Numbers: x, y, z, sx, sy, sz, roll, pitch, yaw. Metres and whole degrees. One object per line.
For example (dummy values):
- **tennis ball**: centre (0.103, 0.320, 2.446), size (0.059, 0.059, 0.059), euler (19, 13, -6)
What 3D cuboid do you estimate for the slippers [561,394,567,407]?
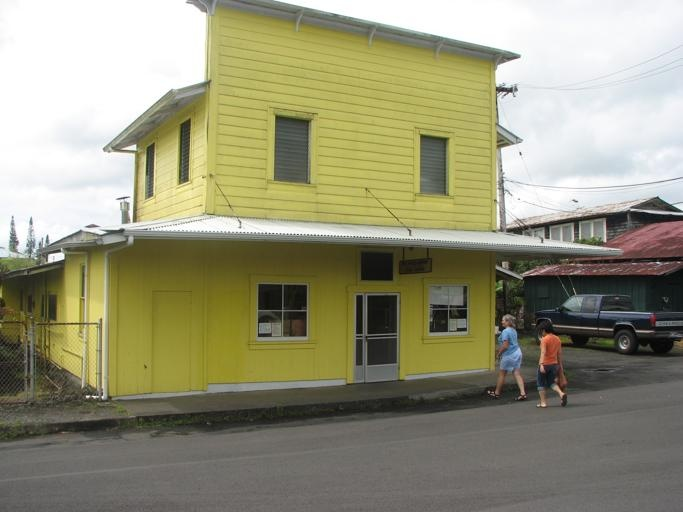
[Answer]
- **slippers**: centre (4.862, 3.136, 14.935), size (0.125, 0.289, 0.083), euler (-1, 5, -3)

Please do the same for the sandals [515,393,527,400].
- **sandals**: centre (4.163, 3.293, 16.030), size (0.319, 0.118, 0.114), euler (1, 1, 40)

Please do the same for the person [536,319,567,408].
- **person**: centre (4.748, 2.377, 15.414), size (0.628, 1.929, 1.375), euler (0, 1, 17)
